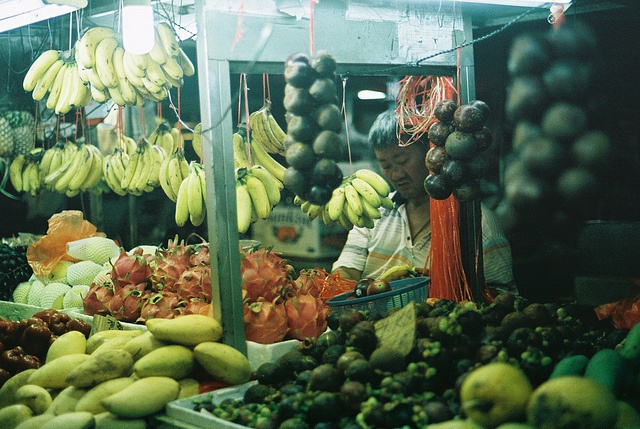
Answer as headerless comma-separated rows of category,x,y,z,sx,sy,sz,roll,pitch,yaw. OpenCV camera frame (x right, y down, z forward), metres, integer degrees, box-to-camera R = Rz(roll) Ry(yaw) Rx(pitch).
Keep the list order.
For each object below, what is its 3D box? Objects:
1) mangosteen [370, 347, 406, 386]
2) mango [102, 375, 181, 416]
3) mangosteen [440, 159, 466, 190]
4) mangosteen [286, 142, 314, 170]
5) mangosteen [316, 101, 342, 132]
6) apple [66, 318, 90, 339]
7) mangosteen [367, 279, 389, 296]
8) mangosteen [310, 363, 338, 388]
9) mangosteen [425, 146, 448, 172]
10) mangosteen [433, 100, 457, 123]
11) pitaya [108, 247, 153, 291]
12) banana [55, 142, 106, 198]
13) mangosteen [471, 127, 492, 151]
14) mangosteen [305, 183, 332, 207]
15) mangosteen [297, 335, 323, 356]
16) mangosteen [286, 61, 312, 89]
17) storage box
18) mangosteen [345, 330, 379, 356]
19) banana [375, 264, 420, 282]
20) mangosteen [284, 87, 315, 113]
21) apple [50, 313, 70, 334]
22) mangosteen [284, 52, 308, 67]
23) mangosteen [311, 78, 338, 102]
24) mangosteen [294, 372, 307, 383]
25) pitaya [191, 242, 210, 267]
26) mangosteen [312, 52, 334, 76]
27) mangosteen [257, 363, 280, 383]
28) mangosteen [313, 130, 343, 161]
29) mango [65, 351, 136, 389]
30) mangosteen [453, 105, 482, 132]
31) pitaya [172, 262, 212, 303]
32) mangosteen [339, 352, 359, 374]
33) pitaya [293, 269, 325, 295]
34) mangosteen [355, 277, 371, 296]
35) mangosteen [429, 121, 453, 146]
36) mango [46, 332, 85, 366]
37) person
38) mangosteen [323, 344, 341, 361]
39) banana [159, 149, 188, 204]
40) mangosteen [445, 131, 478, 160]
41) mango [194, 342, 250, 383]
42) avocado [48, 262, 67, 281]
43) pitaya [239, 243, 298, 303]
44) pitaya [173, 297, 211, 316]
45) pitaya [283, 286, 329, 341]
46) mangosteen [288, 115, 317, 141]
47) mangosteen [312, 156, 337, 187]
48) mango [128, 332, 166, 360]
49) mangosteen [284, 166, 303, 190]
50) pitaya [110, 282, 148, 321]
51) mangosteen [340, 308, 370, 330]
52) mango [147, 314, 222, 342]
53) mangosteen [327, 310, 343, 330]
mangosteen,0.318,0.697,3.062,0.136,0.161,0.130,-40,21,-29
mango,-0.862,0.857,3.147,0.315,0.145,0.146,-4,-36,-38
mangosteen,0.717,-0.221,3.594,0.133,0.166,0.137,-10,4,-4
mangosteen,-0.090,-0.284,3.369,0.132,0.138,0.158,-12,-30,12
mangosteen,0.048,-0.500,3.372,0.108,0.147,0.111,-6,-30,-19
apple,-1.383,0.648,3.732,0.106,0.119,0.106,8,1,41
mangosteen,0.339,0.418,3.735,0.087,0.088,0.091,-14,-6,26
mangosteen,0.018,0.766,3.081,0.087,0.091,0.109,-9,0,-25
mangosteen,0.649,-0.306,3.668,0.118,0.150,0.124,-1,-12,22
mangosteen,0.705,-0.580,3.631,0.127,0.113,0.078,0,0,13
pitaya,-1.119,0.336,3.912,0.186,0.227,0.222,1,-33,-3
banana,-1.697,-0.307,4.740,0.228,0.471,0.159,26,-18,33
mangosteen,0.894,-0.419,3.599,0.113,0.143,0.119,-1,0,21
mangosteen,0.000,-0.101,3.347,0.111,0.096,0.086,0,0,-28
mangosteen,-0.041,0.683,3.372,0.082,0.054,0.114,5,1,12
mangosteen,-0.100,-0.714,3.322,0.103,0.086,0.085,12,27,-51
storage box,-0.215,0.223,7.069,1.040,0.521,0.575,13,1,42
mangosteen,0.213,0.628,3.192,0.137,0.109,0.083,11,21,2
banana,0.525,0.388,4.272,0.323,0.111,0.084,-12,-27,-33
mangosteen,-0.106,-0.582,3.373,0.152,0.117,0.109,4,-4,-33
apple,-1.485,0.620,3.703,0.092,0.097,0.038,1,-31,-20
mangosteen,-0.122,-0.796,3.375,0.083,0.047,0.080,-10,8,-36
mangosteen,0.025,-0.633,3.332,0.149,0.121,0.054,0,0,-25
mangosteen,-0.081,0.789,3.131,0.063,0.056,0.053,0,0,5
pitaya,-0.724,0.255,3.977,0.113,0.152,0.057,6,-9,2
mangosteen,0.015,-0.772,3.330,0.073,0.092,0.079,-18,23,34
mangosteen,-0.256,0.796,3.247,0.130,0.100,0.056,0,0,42
mangosteen,0.034,-0.362,3.342,0.115,0.123,0.152,-9,7,-27
mango,-1.112,0.791,3.340,0.312,0.155,0.156,-16,-23,-8
mangosteen,0.805,-0.515,3.584,0.133,0.140,0.160,-25,-5,32
pitaya,-0.748,0.391,3.816,0.182,0.140,0.203,19,-22,-30
mangosteen,0.133,0.696,3.096,0.084,0.084,0.101,-26,-33,-17
pitaya,-0.062,0.404,3.941,0.137,0.167,0.168,1,29,4
mangosteen,0.268,0.435,3.876,0.080,0.099,0.084,6,-9,13
mangosteen,0.669,-0.455,3.622,0.126,0.153,0.123,1,-14,-7
mango,-1.380,0.711,3.637,0.234,0.144,0.173,-7,-39,-27
person,0.741,-0.052,4.317,0.689,1.350,0.983,10,-25,-36
mangosteen,0.069,0.691,3.199,0.102,0.079,0.073,0,0,1
banana,-0.922,-0.257,4.212,0.171,0.343,0.099,-11,-23,32
mangosteen,0.770,-0.370,3.567,0.148,0.151,0.145,-8,13,-9
mango,-0.491,0.769,3.423,0.293,0.165,0.176,28,-41,4
avocado,-1.818,0.400,4.548,0.140,0.149,0.087,0,0,-22
pitaya,-0.304,0.345,3.724,0.269,0.170,0.274,10,21,-10
pitaya,-0.699,0.524,3.619,0.159,0.096,0.120,4,-11,-16
pitaya,-0.121,0.598,3.694,0.271,0.327,0.321,1,0,5
mangosteen,-0.072,-0.429,3.364,0.104,0.108,0.144,9,-15,32
mangosteen,0.027,-0.218,3.292,0.117,0.147,0.122,1,4,9
mango,-0.905,0.674,3.406,0.191,0.094,0.104,-23,30,-10
mangosteen,-0.135,-0.179,3.333,0.089,0.090,0.118,-1,31,-43
pitaya,-1.084,0.550,3.887,0.132,0.178,0.256,-14,10,-9
mangosteen,0.183,0.545,3.361,0.106,0.089,0.084,-8,-3,25
mango,-0.704,0.594,3.376,0.315,0.159,0.145,19,-2,-4
mangosteen,0.084,0.585,3.574,0.078,0.098,0.080,3,0,-3
